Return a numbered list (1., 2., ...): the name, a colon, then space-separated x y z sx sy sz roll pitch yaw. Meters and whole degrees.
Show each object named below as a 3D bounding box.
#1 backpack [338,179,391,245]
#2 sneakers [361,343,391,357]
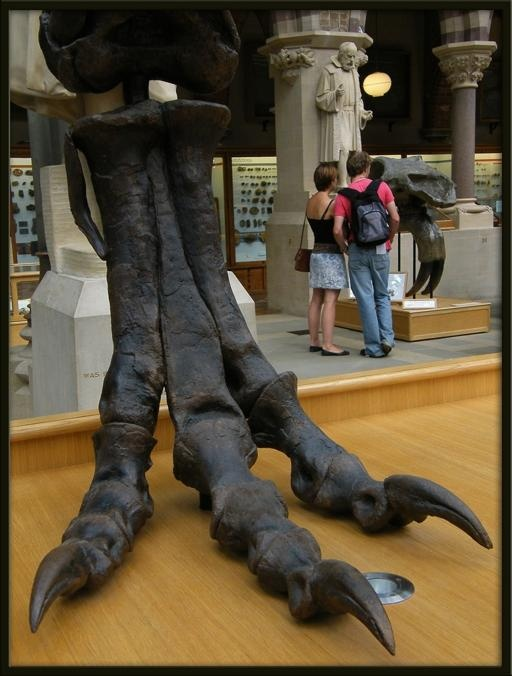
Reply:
1. backpack: 1.161 -1.338 5.548 0.482 0.646 0.371 -23 26 -14
2. sneakers: 1.407 0.146 6.056 0.379 0.160 0.140 -6 -3 28
